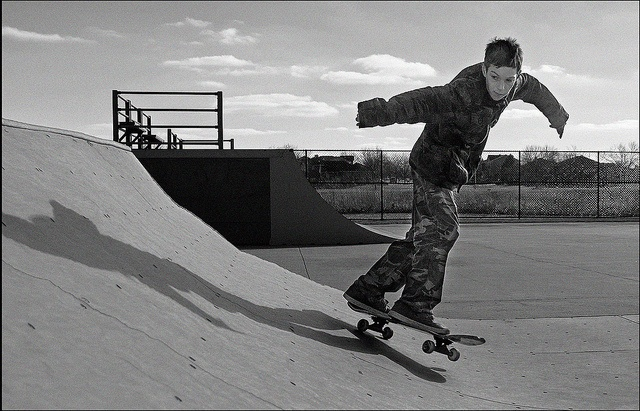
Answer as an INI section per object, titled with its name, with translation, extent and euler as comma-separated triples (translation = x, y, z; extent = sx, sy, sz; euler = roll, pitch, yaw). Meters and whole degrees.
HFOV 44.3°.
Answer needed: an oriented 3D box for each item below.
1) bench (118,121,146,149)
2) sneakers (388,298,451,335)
[bench]
translation = -3.510, -1.397, 15.264
extent = 0.358, 0.397, 1.080
euler = -12, 13, -4
[sneakers]
translation = 0.898, 0.975, 7.002
extent = 0.590, 0.211, 0.200
euler = 18, 0, 43
